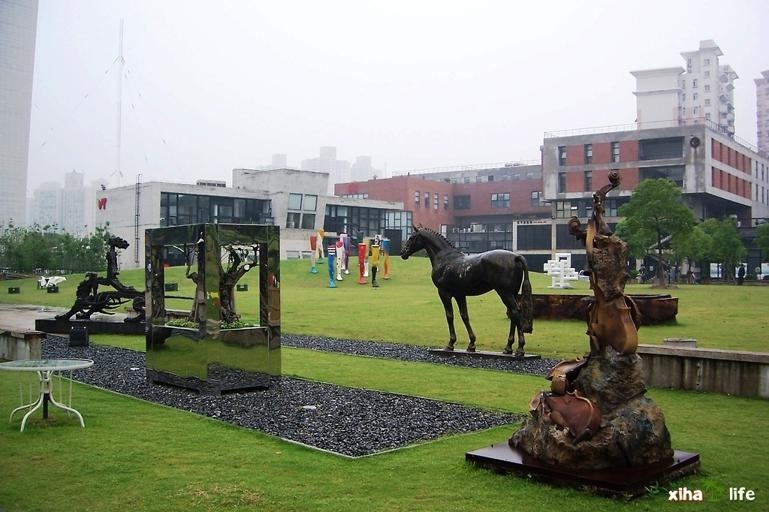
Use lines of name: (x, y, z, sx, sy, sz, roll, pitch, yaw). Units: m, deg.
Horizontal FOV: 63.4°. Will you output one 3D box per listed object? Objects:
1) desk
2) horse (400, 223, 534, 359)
desk: (-6.668, 2.560, 12.456, 1.786, 1.141, 1.728, 1, -2, -2)
horse: (2.668, 1.039, 18.714, 3.878, 3.786, 1.257, 2, 0, 45)
